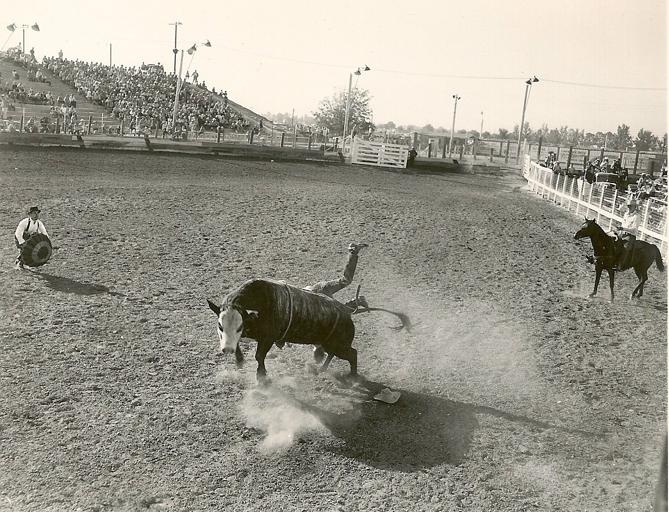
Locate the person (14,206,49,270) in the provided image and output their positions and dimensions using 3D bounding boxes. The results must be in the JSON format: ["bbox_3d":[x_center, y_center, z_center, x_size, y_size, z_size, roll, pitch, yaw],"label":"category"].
[{"bbox_3d":[-5.940,-0.385,11.486,0.567,1.137,0.881,-3,13,-30],"label":"person"}]

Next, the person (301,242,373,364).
[{"bbox_3d":[0.056,0.756,8.858,0.405,1.297,2.132,3,28,22],"label":"person"}]

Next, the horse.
[{"bbox_3d":[6.121,0.046,12.553,1.803,1.515,0.630,3,11,-9],"label":"horse"}]

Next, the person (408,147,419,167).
[{"bbox_3d":[4.993,-6.369,37.690,0.469,1.115,2.030,5,12,8],"label":"person"}]

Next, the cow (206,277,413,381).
[{"bbox_3d":[-0.179,1.032,7.901,2.827,1.251,0.677,6,3,-27],"label":"cow"}]
